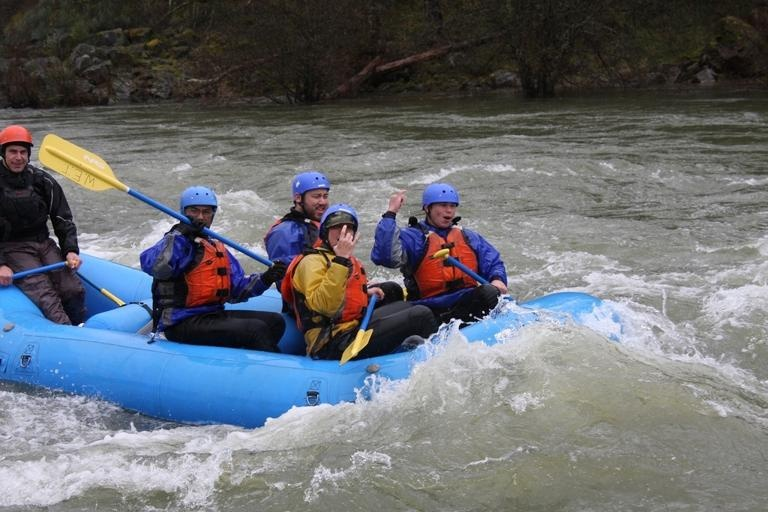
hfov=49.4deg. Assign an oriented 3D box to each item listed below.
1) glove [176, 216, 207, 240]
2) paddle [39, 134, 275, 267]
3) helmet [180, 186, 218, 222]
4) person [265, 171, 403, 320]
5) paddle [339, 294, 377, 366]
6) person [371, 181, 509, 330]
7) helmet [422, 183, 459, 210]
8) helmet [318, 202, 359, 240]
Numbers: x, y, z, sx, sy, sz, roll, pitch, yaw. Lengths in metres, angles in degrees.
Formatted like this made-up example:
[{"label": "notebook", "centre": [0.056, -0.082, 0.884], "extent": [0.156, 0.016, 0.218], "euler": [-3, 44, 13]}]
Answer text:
[{"label": "glove", "centre": [-1.809, -0.255, 7.833], "extent": [0.270, 0.206, 0.140], "euler": [-3, 11, -11]}, {"label": "paddle", "centre": [-2.303, -0.492, 8.805], "extent": [2.664, 0.346, 0.099], "euler": [27, 44, -19]}, {"label": "helmet", "centre": [-1.765, -0.519, 8.152], "extent": [0.337, 0.338, 0.402], "euler": [3, -1, -27]}, {"label": "person", "centre": [-0.929, -0.183, 8.714], "extent": [1.059, 1.363, 1.281], "euler": [12, -9, 46]}, {"label": "paddle", "centre": [-0.179, 0.686, 7.679], "extent": [0.336, 0.109, 1.294], "euler": [-17, 15, 13]}, {"label": "person", "centre": [0.619, 0.270, 8.388], "extent": [1.489, 1.795, 1.025], "euler": [-4, 8, -11]}, {"label": "helmet", "centre": [0.593, -0.598, 8.405], "extent": [0.265, 0.224, 0.321], "euler": [-7, 19, -41]}, {"label": "helmet", "centre": [-0.376, -0.291, 7.539], "extent": [0.303, 0.267, 0.360], "euler": [10, -21, -12]}]
